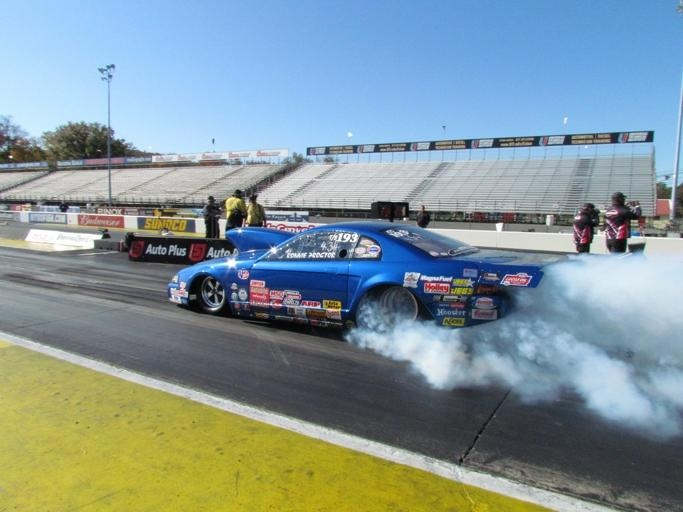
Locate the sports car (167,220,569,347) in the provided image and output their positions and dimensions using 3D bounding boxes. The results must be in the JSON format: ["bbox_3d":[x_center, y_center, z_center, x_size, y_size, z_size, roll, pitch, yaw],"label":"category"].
[{"bbox_3d":[-0.013,0.250,5.205,4.346,0.803,1.808,2,6,27],"label":"sports car"}]
